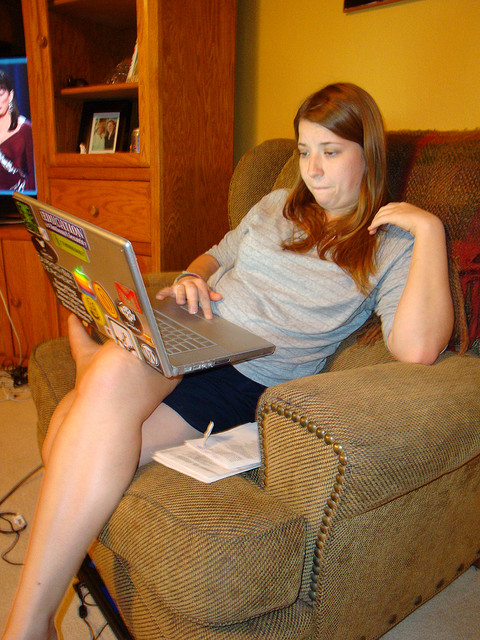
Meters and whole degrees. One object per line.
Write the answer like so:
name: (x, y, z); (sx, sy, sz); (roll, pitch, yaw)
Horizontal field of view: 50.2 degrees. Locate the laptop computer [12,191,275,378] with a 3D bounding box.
laptop computer: (-0.176, -0.088, 0.937); (0.330, 0.240, 0.422); (-11, 27, -36)
